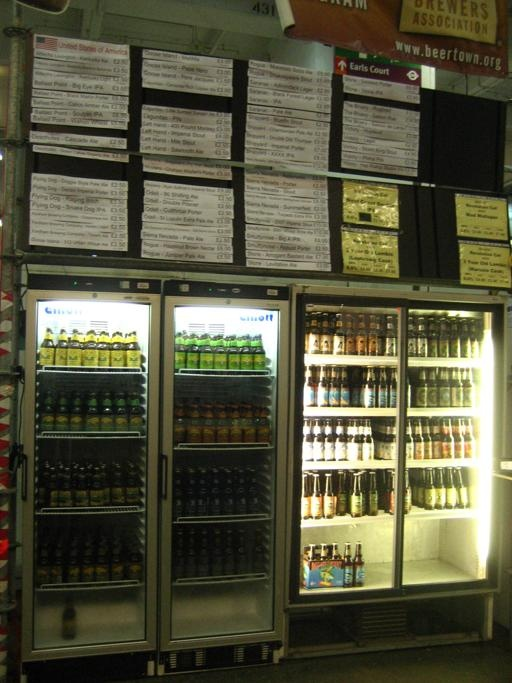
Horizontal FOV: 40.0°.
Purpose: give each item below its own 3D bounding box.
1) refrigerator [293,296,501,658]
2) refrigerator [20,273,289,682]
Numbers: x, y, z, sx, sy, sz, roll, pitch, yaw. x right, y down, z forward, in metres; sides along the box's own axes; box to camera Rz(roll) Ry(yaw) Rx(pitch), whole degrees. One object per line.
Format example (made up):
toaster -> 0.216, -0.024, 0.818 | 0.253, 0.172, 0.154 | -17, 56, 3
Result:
refrigerator -> 0.843, 0.795, 4.295 | 1.390, 2.056, 1.105 | -2, -10, -2
refrigerator -> -0.559, 0.746, 3.933 | 1.398, 2.112, 0.838 | 1, -11, -16
